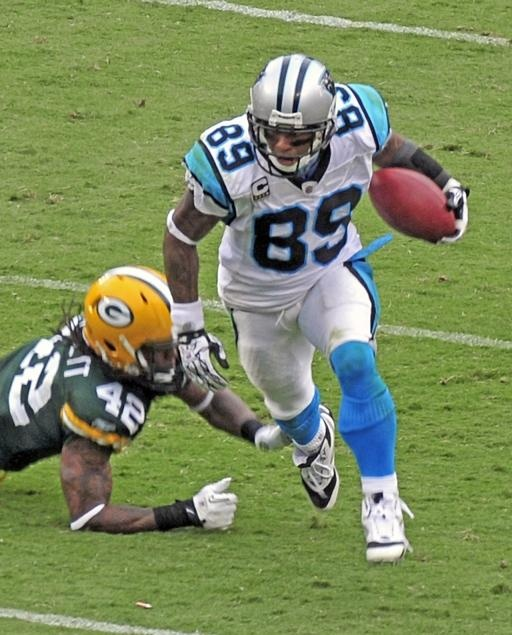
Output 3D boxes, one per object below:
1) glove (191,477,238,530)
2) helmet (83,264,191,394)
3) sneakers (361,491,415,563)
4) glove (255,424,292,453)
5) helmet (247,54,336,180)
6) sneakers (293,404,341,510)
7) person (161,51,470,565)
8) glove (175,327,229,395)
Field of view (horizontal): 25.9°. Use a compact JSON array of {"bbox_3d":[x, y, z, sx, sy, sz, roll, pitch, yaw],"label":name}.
[{"bbox_3d":[-0.156,0.696,4.116,0.145,0.135,0.135,-14,34,28],"label":"glove"},{"bbox_3d":[-0.389,0.007,4.148,0.534,0.364,0.355,17,32,26],"label":"helmet"},{"bbox_3d":[0.461,0.736,3.870,0.169,0.129,0.244,-4,43,3],"label":"sneakers"},{"bbox_3d":[0.081,0.495,4.468,0.141,0.110,0.071,-3,82,35],"label":"glove"},{"bbox_3d":[0.123,-0.704,3.887,0.351,0.432,0.359,10,87,7],"label":"helmet"},{"bbox_3d":[0.292,0.557,4.446,0.142,0.172,0.390,-29,45,23],"label":"sneakers"},{"bbox_3d":[0.157,0.034,4.201,1.052,1.814,1.344,3,54,-6],"label":"person"},{"bbox_3d":[-0.236,0.166,4.031,0.070,0.236,0.174,-16,29,38],"label":"glove"}]
